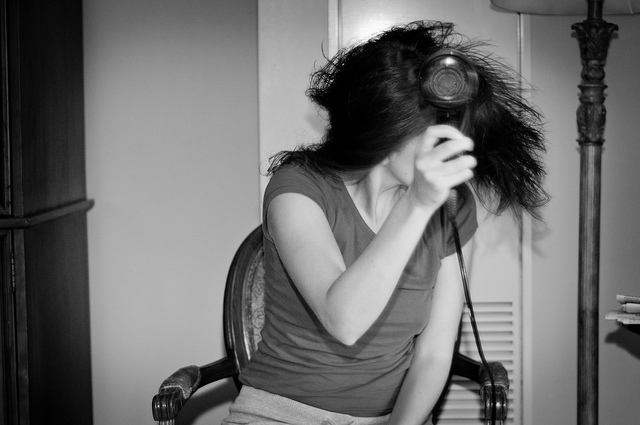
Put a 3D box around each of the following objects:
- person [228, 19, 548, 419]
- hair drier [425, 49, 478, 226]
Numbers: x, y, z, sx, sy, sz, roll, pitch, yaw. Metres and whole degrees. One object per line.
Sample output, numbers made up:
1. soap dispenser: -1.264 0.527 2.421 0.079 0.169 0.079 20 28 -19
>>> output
1. person: 0.197 0.041 1.862 0.714 1.140 0.658 -1 -8 35
2. hair drier: 0.301 -0.181 1.558 0.145 0.476 0.129 1 -6 -1
